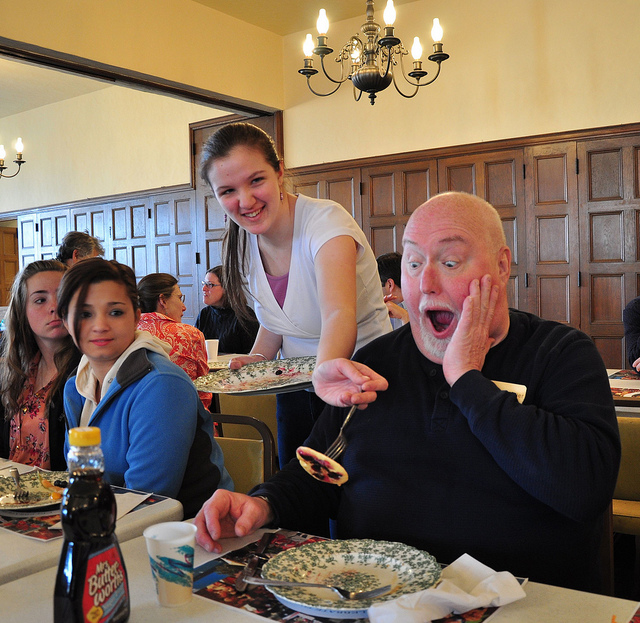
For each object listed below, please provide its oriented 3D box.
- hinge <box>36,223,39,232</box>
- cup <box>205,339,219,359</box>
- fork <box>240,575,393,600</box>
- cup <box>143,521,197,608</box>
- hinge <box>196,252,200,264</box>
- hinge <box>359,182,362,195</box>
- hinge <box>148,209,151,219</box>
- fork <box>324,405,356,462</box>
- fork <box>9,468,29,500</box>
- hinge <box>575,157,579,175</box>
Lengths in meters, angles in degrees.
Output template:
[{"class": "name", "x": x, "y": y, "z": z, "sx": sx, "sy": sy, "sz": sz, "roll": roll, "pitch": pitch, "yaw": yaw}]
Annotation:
[{"class": "hinge", "x": -4.755, "y": -1.412, "z": 9.332, "sx": 0.071, "sy": 0.146, "sz": 0.005, "roll": -3, "pitch": 1, "yaw": 30}, {"class": "cup", "x": -0.784, "y": 0.277, "z": 4.038, "sx": 0.117, "sy": 0.131, "sz": 0.118, "roll": -7, "pitch": -3, "yaw": 0}, {"class": "fork", "x": -0.010, "y": 0.375, "z": 0.756, "sx": 0.185, "sy": 0.026, "sz": 0.034, "roll": 0, "pitch": -27, "yaw": 1}, {"class": "cup", "x": -0.193, "y": 0.342, "z": 0.742, "sx": 0.068, "sy": 0.082, "sz": 0.072, "roll": -5, "pitch": -16, "yaw": -1}, {"class": "hinge", "x": -1.683, "y": -0.727, "z": 7.630, "sx": 0.076, "sy": 0.163, "sz": 0.017, "roll": -3, "pitch": 1, "yaw": 39}, {"class": "hinge", "x": 0.452, "y": -1.361, "z": 6.192, "sx": 0.028, "sy": 0.127, "sz": 0.018, "roll": -3, "pitch": 1, "yaw": 11}, {"class": "hinge", "x": -2.484, "y": -1.410, "z": 8.057, "sx": 0.057, "sy": 0.137, "sz": 0.011, "roll": -3, "pitch": 1, "yaw": 26}, {"class": "fork", "x": 0.043, "y": 0.221, "z": 1.117, "sx": 0.024, "sy": 0.210, "sz": 0.027, "roll": -7, "pitch": -46, "yaw": 23}, {"class": "fork", "x": -0.663, "y": 0.383, "z": 1.221, "sx": 0.012, "sy": 0.069, "sz": 0.036, "roll": -28, "pitch": -11, "yaw": 32}, {"class": "hinge", "x": 2.374, "y": -1.339, "z": 5.140, "sx": 0.031, "sy": 0.132, "sz": 0.023, "roll": -3, "pitch": 1, "yaw": 18}]
